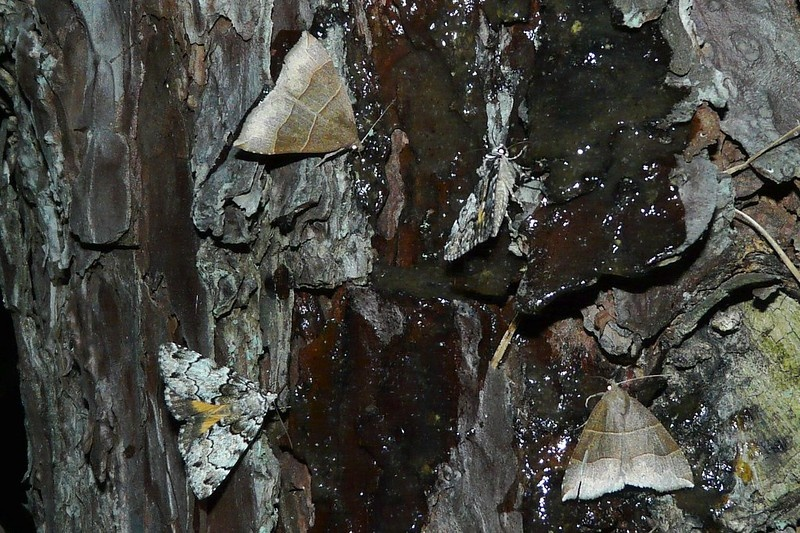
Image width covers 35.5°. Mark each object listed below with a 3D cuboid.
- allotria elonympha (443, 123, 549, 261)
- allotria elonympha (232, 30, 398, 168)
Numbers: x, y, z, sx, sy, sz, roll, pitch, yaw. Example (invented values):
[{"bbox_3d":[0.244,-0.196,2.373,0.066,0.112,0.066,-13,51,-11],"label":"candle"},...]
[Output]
[{"bbox_3d":[0.422,-0.313,5.601,0.186,0.522,0.417,6,1,-43],"label":"allotria elonympha"},{"bbox_3d":[-0.418,-0.731,5.586,0.681,0.536,0.176,-13,30,-31],"label":"allotria elonympha"}]
